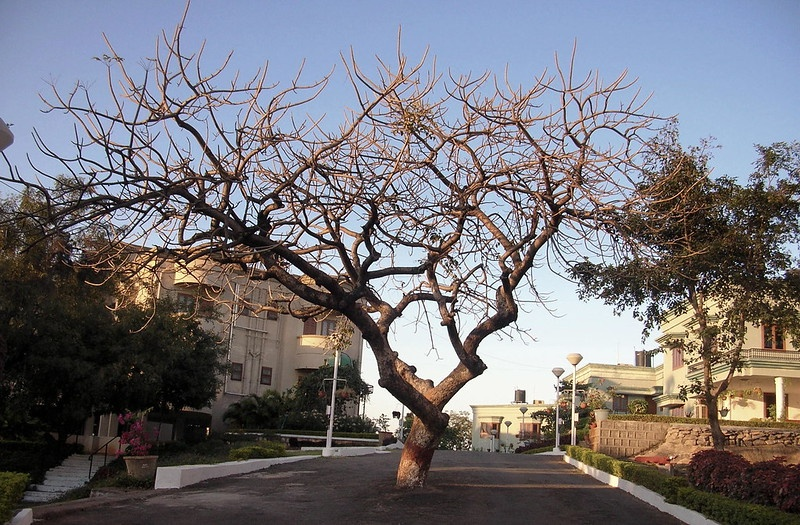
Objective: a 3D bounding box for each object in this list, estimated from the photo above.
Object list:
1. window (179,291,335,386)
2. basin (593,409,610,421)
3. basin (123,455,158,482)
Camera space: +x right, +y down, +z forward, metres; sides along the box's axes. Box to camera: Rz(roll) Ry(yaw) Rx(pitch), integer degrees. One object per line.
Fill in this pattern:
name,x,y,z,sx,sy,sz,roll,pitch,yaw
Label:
window,-9.331,5.157,36.823,7.333,4.951,4.633,17,-22,-41
basin,11.161,8.517,32.507,0.925,0.685,0.924,2,-4,0
basin,-9.509,7.507,21.267,1.104,0.792,1.299,8,-17,-24
